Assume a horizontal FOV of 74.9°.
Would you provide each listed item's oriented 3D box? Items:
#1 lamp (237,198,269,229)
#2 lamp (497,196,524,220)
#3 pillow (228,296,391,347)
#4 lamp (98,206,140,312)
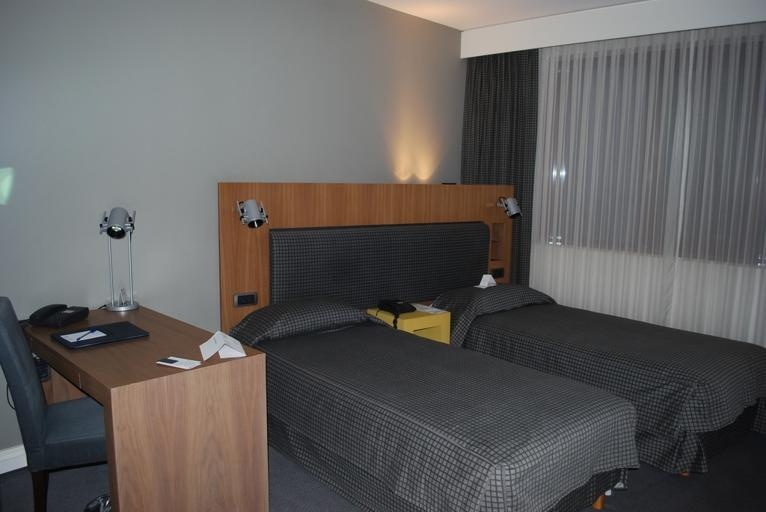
[{"bbox_3d":[-1.013,-0.327,3.917,0.238,0.233,0.248,-6,10,-19],"label":"lamp"},{"bbox_3d":[1.331,-0.494,5.262,0.248,0.245,0.454,-1,9,15],"label":"lamp"},{"bbox_3d":[-0.629,0.488,3.878,0.703,0.139,0.429,-7,9,-32],"label":"pillow"},{"bbox_3d":[-1.850,0.021,3.516,0.275,0.727,0.441,-8,11,-26],"label":"lamp"}]
